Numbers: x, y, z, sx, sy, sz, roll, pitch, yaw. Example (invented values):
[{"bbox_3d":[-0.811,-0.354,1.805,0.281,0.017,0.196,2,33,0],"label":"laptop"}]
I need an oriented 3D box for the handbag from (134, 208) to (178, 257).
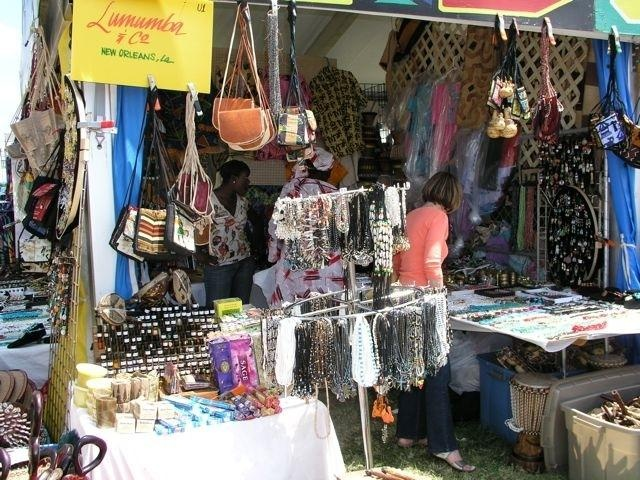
[{"bbox_3d":[-1.178,-0.058,4.126,0.222,0.371,0.127,1,-6,-21],"label":"handbag"}]

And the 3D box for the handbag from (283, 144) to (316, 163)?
[{"bbox_3d":[-0.177,-0.716,4.695,0.234,0.119,0.185,-16,-13,42],"label":"handbag"}]

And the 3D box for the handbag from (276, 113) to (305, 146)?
[{"bbox_3d":[-0.197,-0.820,4.247,0.246,0.312,0.081,5,-13,-2],"label":"handbag"}]

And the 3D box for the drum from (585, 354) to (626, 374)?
[{"bbox_3d":[2.381,0.985,4.819,0.324,0.133,0.279,-1,-5,-25],"label":"drum"}]

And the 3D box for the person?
[{"bbox_3d":[-0.982,-0.074,6.242,0.481,1.459,0.486,-2,-4,-2],"label":"person"}]

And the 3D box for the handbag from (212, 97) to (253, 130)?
[{"bbox_3d":[-0.650,-0.988,4.315,0.207,0.231,0.237,0,-13,-5],"label":"handbag"}]

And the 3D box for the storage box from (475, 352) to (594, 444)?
[{"bbox_3d":[1.794,1.292,5.145,0.575,0.700,0.608,-4,8,-26],"label":"storage box"}]

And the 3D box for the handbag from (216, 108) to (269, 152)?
[{"bbox_3d":[-0.560,-0.820,4.285,0.326,0.511,0.196,-5,-9,1],"label":"handbag"}]

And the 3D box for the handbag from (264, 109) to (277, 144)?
[{"bbox_3d":[-0.360,-0.833,4.317,0.110,0.196,0.041,-1,12,6],"label":"handbag"}]

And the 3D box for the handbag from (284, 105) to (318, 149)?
[{"bbox_3d":[-0.164,-0.895,4.335,0.241,0.338,0.326,8,17,24],"label":"handbag"}]

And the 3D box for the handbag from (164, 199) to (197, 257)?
[{"bbox_3d":[-0.986,-0.095,4.130,0.081,0.284,0.281,-7,-25,17],"label":"handbag"}]

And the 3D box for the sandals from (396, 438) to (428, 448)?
[{"bbox_3d":[0.757,1.668,4.851,0.237,0.105,0.070,-2,9,0],"label":"sandals"}]

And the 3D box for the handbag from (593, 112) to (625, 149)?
[{"bbox_3d":[2.433,-0.947,4.996,0.070,0.284,0.272,-40,3,-39],"label":"handbag"}]

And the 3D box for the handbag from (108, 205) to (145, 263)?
[{"bbox_3d":[-1.349,-0.059,4.114,0.194,0.365,0.107,-2,-4,3],"label":"handbag"}]

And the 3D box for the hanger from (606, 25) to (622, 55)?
[{"bbox_3d":[2.417,-1.659,4.875,0.090,0.242,0.220,-4,-4,28],"label":"hanger"}]

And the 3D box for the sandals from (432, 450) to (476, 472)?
[{"bbox_3d":[1.055,1.687,4.679,0.358,0.183,0.127,5,0,34],"label":"sandals"}]

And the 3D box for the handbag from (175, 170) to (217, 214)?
[{"bbox_3d":[-0.896,-0.375,4.302,0.176,0.374,0.261,9,-7,20],"label":"handbag"}]

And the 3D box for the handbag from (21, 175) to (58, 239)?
[{"bbox_3d":[-2.171,-0.255,4.654,0.285,0.457,0.118,4,-5,32],"label":"handbag"}]

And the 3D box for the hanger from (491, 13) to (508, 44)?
[{"bbox_3d":[1.393,-1.664,4.544,0.062,0.298,0.082,3,-27,-9],"label":"hanger"}]

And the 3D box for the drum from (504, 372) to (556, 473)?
[{"bbox_3d":[1.646,1.433,4.645,0.347,0.723,0.189,-3,-4,19],"label":"drum"}]
